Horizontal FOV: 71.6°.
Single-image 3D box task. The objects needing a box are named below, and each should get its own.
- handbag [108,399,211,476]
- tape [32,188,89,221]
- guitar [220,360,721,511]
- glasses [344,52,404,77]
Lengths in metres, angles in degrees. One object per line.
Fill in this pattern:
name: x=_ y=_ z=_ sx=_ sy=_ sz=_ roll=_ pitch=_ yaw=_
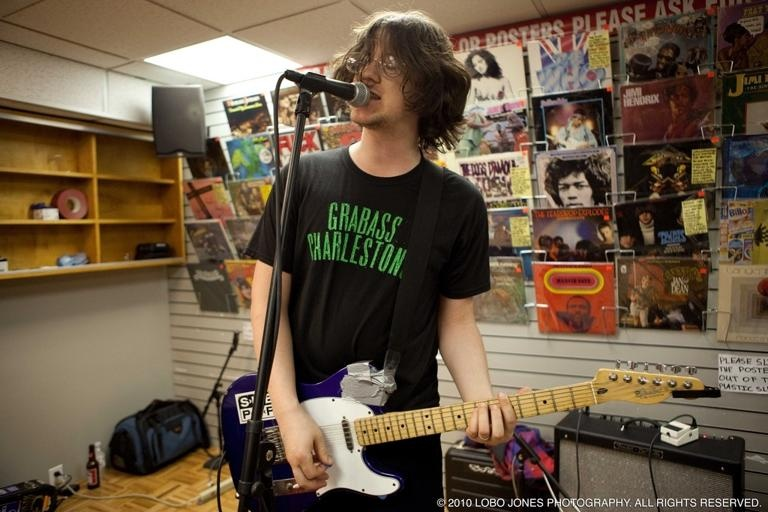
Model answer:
handbag: x=-2.289 y=1.818 z=5.438 sx=0.551 sy=0.713 sz=1.005 roll=-9 pitch=-3 yaw=35
tape: x=-2.876 y=-0.463 z=4.720 sx=0.455 sy=0.317 sz=0.270 roll=-4 pitch=1 yaw=-36
guitar: x=0.217 y=0.812 z=2.554 sx=2.057 sy=0.681 sz=0.376 roll=-4 pitch=0 yaw=-2
glasses: x=-0.042 y=-0.883 z=2.423 sx=0.172 sy=0.042 sz=0.116 roll=-1 pitch=-26 yaw=16
